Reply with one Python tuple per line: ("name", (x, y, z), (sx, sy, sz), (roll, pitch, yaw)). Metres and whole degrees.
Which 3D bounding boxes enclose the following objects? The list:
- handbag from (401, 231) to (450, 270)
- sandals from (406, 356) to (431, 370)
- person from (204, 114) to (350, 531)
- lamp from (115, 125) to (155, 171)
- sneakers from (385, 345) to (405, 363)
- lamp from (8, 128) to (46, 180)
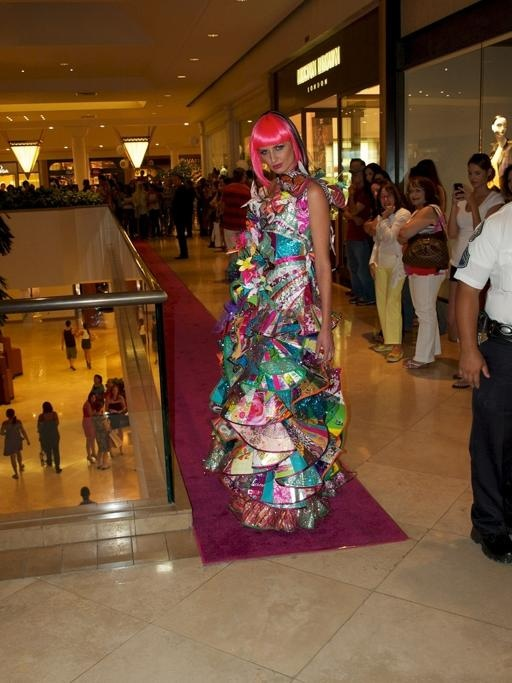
("handbag", (1.371, -0.737, 4.118), (0.340, 0.294, 0.169), (3, -18, 15))
("sandals", (1.401, 0.179, 4.391), (0.182, 0.057, 0.098), (0, 5, -13))
("person", (0.058, -0.055, 2.025), (0.612, 1.591, 0.480), (-3, 5, 12))
("lamp", (-4.599, -7.085, 19.266), (1.662, 1.312, 1.591), (-8, 8, -7))
("sneakers", (1.287, 0.113, 4.732), (0.097, 0.122, 0.305), (0, 1, 24))
("lamp", (-9.310, -7.282, 20.519), (1.020, 1.463, 0.699), (-6, 6, -25))
